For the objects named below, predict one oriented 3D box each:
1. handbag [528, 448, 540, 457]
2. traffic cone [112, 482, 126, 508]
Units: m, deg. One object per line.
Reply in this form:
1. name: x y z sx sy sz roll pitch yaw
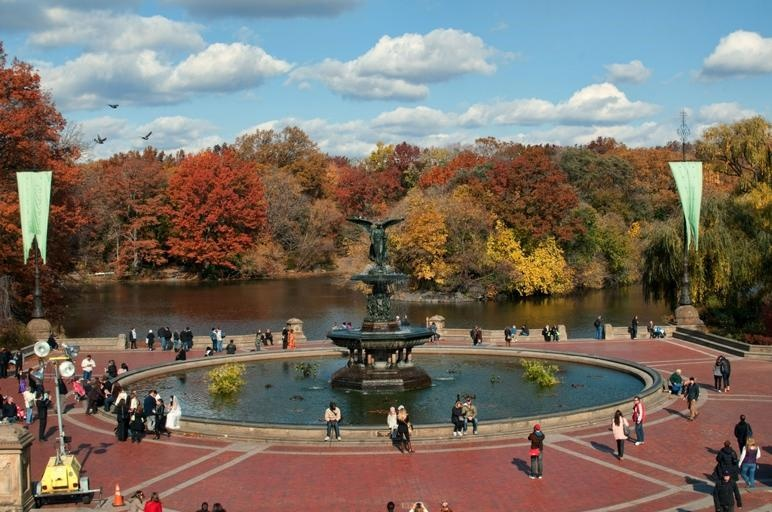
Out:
1. handbag: 6.175 8.222 48.401 0.596 0.262 0.719 0 -13 3
2. traffic cone: -10.940 9.755 47.244 0.464 0.786 0.959 -5 -1 -12
